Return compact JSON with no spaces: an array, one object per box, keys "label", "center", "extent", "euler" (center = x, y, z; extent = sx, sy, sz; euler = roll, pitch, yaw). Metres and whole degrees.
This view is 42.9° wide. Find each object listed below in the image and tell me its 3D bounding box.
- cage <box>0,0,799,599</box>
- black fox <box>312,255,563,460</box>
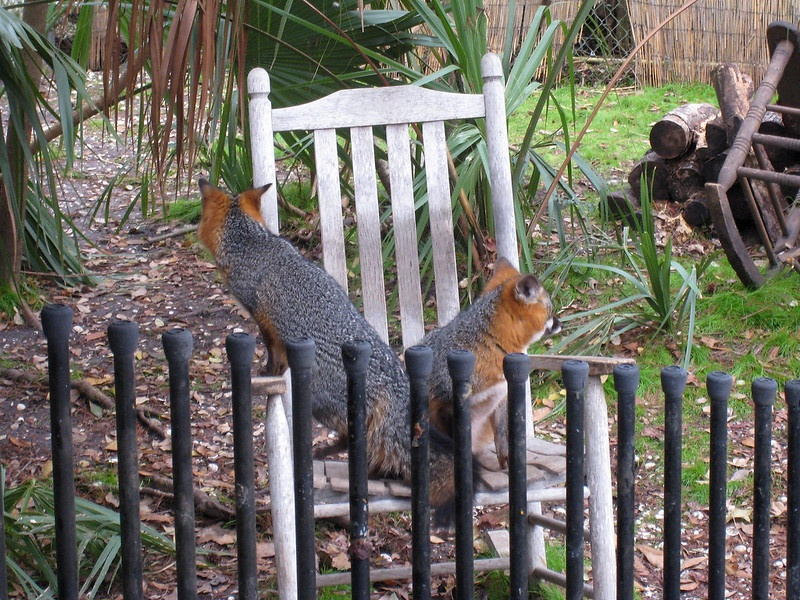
[{"label":"cage","center":[0.058,-0.522,4.092],"extent":[3.418,1.602,1.090],"euler":[0,10,-10]},{"label":"black fox","center":[0.164,0.386,4.850],"extent":[1.235,0.948,0.398],"euler":[-7,6,-6]}]
